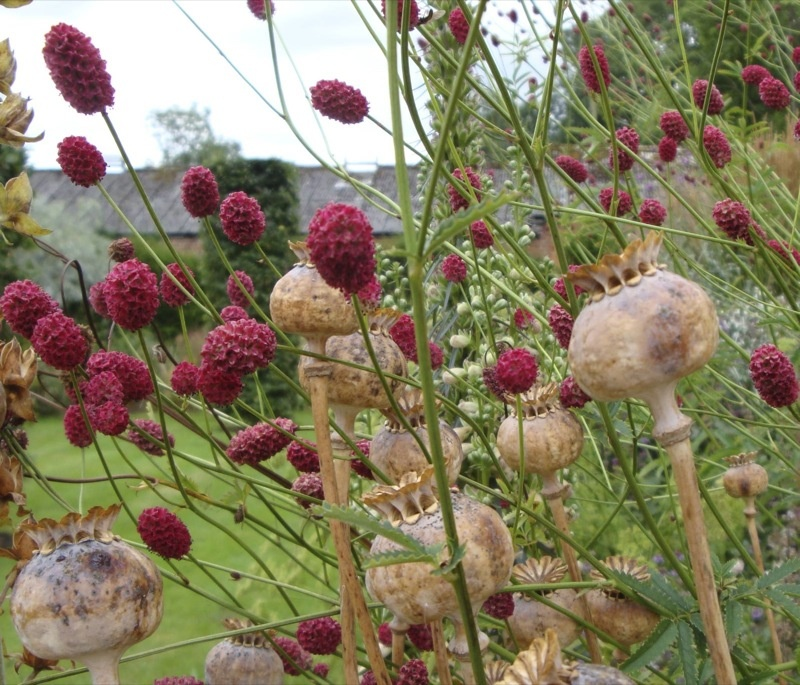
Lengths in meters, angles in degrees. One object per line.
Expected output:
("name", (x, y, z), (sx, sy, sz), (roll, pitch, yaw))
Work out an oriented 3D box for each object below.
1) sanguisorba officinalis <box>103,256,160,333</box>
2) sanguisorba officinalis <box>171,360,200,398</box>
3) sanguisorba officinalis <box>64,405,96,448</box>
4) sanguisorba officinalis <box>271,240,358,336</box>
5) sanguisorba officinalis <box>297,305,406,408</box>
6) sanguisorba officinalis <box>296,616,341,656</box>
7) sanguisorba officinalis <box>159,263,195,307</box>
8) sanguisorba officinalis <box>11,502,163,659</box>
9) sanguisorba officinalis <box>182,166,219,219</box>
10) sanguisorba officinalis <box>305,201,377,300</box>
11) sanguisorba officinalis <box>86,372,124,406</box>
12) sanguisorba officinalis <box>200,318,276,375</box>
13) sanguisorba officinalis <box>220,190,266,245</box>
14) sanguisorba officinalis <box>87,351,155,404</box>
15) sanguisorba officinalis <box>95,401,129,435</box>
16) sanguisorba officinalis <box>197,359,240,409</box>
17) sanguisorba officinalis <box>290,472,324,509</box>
("sanguisorba officinalis", (-0.409, -0.072, 1.981), (0.083, 0.123, 0.096), (-2, 0, -9))
("sanguisorba officinalis", (-0.354, 0.059, 2.140), (0.053, 0.071, 0.056), (0, -1, -43))
("sanguisorba officinalis", (-0.545, 0.137, 2.213), (0.036, 0.057, 0.052), (-16, -24, -11))
("sanguisorba officinalis", (-0.130, -0.081, 2.000), (0.109, 0.155, 0.129), (-1, 3, 5))
("sanguisorba officinalis", (-0.059, 0.027, 2.031), (0.135, 0.209, 0.148), (5, 2, 31))
("sanguisorba officinalis", (-0.137, 0.488, 2.183), (0.059, 0.071, 0.065), (1, -7, 9))
("sanguisorba officinalis", (-0.413, -0.111, 2.392), (0.066, 0.100, 0.077), (0, 2, 0))
("sanguisorba officinalis", (-0.463, 0.301, 1.898), (0.183, 0.242, 0.201), (-5, 0, -21))
("sanguisorba officinalis", (-0.345, -0.257, 2.232), (0.065, 0.105, 0.077), (-1, 10, -1))
("sanguisorba officinalis", (-0.081, -0.123, 1.743), (0.080, 0.121, 0.108), (-2, -7, -5))
("sanguisorba officinalis", (-0.472, 0.074, 2.087), (0.043, 0.060, 0.051), (2, -3, 14))
("sanguisorba officinalis", (-0.243, 0.006, 1.939), (0.074, 0.068, 0.086), (-2, -3, -4))
("sanguisorba officinalis", (-0.266, -0.209, 2.243), (0.075, 0.099, 0.075), (-2, 14, 44))
("sanguisorba officinalis", (-0.451, 0.049, 2.099), (0.078, 0.080, 0.076), (8, -3, 8))
("sanguisorba officinalis", (-0.465, 0.121, 2.097), (0.048, 0.060, 0.046), (7, -8, -34))
("sanguisorba officinalis", (-0.279, 0.063, 2.001), (0.054, 0.068, 0.060), (2, -1, 15))
("sanguisorba officinalis", (-0.156, 0.244, 2.196), (0.059, 0.071, 0.060), (1, 3, 1))
